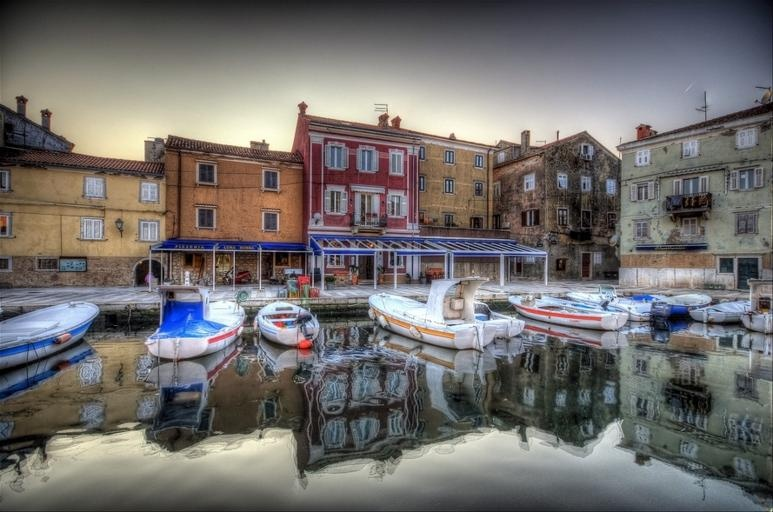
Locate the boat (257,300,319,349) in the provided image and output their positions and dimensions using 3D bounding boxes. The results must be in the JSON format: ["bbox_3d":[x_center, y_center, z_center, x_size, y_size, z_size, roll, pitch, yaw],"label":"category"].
[{"bbox_3d":[-5.188,3.242,29.867,2.734,2.234,5.642,-5,9,-18],"label":"boat"}]

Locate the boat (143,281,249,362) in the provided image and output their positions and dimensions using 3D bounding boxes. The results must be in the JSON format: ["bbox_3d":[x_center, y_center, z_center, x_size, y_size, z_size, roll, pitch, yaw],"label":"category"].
[{"bbox_3d":[-9.719,2.490,29.616,4.179,3.118,8.706,5,11,-6],"label":"boat"}]

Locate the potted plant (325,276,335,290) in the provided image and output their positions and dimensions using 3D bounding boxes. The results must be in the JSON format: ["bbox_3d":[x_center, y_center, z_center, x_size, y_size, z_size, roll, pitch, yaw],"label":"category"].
[{"bbox_3d":[-4.140,1.741,39.694,0.790,0.857,0.797,0,-11,-1],"label":"potted plant"}]

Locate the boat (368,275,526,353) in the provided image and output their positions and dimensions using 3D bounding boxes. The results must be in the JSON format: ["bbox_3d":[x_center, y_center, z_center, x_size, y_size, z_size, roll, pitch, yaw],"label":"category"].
[{"bbox_3d":[2.434,2.972,29.678,3.999,2.369,5.949,-3,8,-40],"label":"boat"}]

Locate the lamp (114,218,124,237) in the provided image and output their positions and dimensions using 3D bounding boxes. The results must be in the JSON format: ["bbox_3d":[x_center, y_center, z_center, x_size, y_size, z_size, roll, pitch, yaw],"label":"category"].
[{"bbox_3d":[-18.464,-2.023,39.468,0.617,1.162,0.643,-1,-1,-24],"label":"lamp"}]

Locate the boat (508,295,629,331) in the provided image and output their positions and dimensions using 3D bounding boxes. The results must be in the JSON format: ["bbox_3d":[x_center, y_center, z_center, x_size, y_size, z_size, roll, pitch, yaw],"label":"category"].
[{"bbox_3d":[10.215,3.206,32.771,2.332,1.196,4.389,0,4,-43],"label":"boat"}]

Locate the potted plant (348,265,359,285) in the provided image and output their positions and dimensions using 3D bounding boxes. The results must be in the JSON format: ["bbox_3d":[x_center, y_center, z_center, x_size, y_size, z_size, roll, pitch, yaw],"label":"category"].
[{"bbox_3d":[-2.561,1.292,42.619,0.653,1.004,1.008,-1,-1,-1],"label":"potted plant"}]
